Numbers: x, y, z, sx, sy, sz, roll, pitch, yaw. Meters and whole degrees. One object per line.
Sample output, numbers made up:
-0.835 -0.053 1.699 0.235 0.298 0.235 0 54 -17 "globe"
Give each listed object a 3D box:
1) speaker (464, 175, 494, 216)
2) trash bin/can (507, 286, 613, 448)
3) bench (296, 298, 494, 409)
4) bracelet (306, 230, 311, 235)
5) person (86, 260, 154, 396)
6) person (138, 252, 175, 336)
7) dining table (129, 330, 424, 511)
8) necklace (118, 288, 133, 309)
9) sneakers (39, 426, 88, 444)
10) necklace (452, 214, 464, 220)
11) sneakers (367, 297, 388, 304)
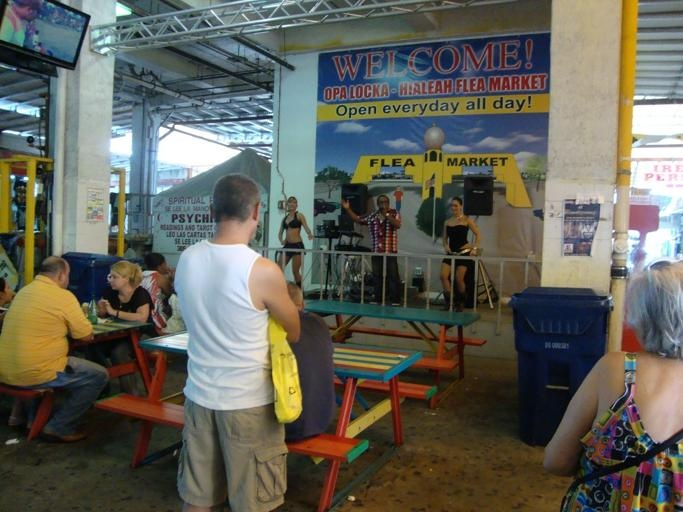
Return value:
2.312 -0.978 9.642 0.537 0.683 0.516 3 -8 4 "speaker"
1.833 0.910 4.700 0.869 1.210 0.870 0 -1 10 "trash bin/can"
0.931 0.832 6.387 1.398 0.513 1.211 3 6 33 "bench"
-0.612 -0.432 10.411 0.043 0.056 0.194 -28 4 9 "bracelet"
-2.129 0.684 5.525 0.656 1.251 0.626 -2 10 -14 "person"
-2.226 0.307 6.545 0.330 1.041 0.328 5 12 2 "person"
0.000 1.077 4.171 1.437 0.711 1.350 -2 -6 31 "dining table"
-2.082 0.374 5.509 0.115 0.161 0.167 1 -6 8 "necklace"
-2.235 1.439 4.621 0.381 0.150 0.139 1 -1 -26 "sneakers"
1.775 -0.595 8.651 0.144 0.125 0.072 -8 -18 35 "necklace"
0.536 0.732 9.029 0.250 0.089 0.150 2 -2 -33 "sneakers"
